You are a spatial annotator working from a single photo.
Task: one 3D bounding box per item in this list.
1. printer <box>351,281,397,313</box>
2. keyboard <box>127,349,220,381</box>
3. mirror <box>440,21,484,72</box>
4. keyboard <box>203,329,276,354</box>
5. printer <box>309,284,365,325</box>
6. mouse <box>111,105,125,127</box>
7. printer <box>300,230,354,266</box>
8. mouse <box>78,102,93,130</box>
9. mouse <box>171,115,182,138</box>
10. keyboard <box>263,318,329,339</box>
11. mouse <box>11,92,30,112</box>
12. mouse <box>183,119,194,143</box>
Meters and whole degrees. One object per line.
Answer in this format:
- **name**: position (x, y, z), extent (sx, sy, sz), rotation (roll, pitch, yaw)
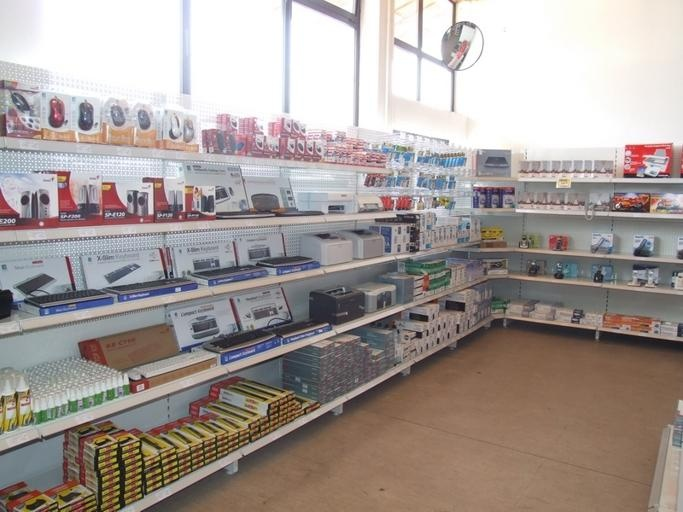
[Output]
- **printer**: position (0.327, 0.390, 4.481), extent (0.278, 0.162, 0.364), rotation (4, 7, 37)
- **keyboard**: position (-1.082, 0.679, 2.924), extent (0.162, 0.056, 0.315), rotation (5, 8, 35)
- **mirror**: position (1.152, -2.027, 4.515), extent (0.375, 0.430, 0.264), rotation (4, 14, 7)
- **keyboard**: position (-0.720, 0.632, 3.373), extent (0.247, 0.099, 0.515), rotation (13, 16, 39)
- **printer**: position (-0.049, 0.425, 4.168), extent (0.332, 0.232, 0.438), rotation (6, 8, 30)
- **mouse**: position (-1.263, -0.790, 2.629), extent (0.026, 0.097, 0.078), rotation (2, 19, 42)
- **printer**: position (-0.130, -0.066, 4.129), extent (0.349, 0.204, 0.369), rotation (5, 8, 37)
- **mouse**: position (-1.382, -0.750, 2.517), extent (0.035, 0.130, 0.086), rotation (7, 5, 43)
- **mouse**: position (-1.024, -0.799, 2.869), extent (0.042, 0.113, 0.092), rotation (3, 7, 33)
- **keyboard**: position (-0.336, 0.589, 3.765), extent (0.595, 0.099, 0.234), rotation (-10, 17, -43)
- **mouse**: position (-1.637, -0.779, 2.373), extent (0.023, 0.087, 0.072), rotation (-10, 27, 41)
- **mouse**: position (-0.961, -0.789, 2.938), extent (0.029, 0.124, 0.105), rotation (1, 22, 24)
